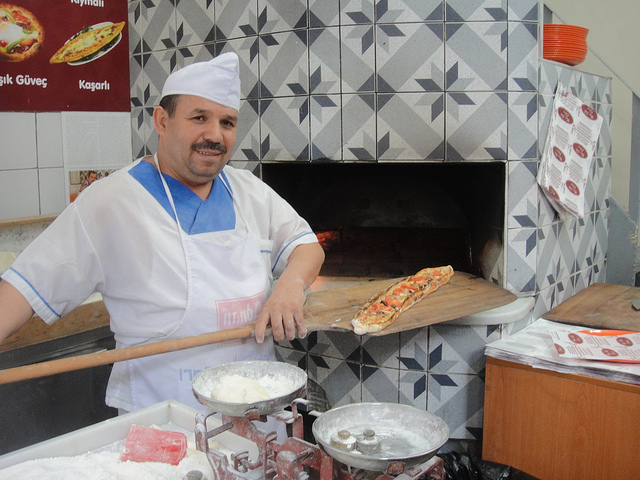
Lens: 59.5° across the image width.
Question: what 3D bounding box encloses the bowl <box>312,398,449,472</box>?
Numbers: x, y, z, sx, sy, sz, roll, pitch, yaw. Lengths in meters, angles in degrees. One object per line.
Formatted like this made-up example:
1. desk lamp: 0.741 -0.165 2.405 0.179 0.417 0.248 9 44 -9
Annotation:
1. bowl: 0.162 0.543 1.510 0.348 0.128 0.249 5 9 24

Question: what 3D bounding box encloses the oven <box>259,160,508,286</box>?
1. oven: 0.388 -0.110 3.358 1.339 0.744 0.774 1 6 12

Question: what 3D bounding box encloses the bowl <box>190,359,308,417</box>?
1. bowl: -0.210 0.453 1.663 0.336 0.123 0.258 1 8 1

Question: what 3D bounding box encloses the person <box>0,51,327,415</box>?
1. person: -0.478 -0.137 2.091 1.265 1.145 0.639 -6 11 -41
